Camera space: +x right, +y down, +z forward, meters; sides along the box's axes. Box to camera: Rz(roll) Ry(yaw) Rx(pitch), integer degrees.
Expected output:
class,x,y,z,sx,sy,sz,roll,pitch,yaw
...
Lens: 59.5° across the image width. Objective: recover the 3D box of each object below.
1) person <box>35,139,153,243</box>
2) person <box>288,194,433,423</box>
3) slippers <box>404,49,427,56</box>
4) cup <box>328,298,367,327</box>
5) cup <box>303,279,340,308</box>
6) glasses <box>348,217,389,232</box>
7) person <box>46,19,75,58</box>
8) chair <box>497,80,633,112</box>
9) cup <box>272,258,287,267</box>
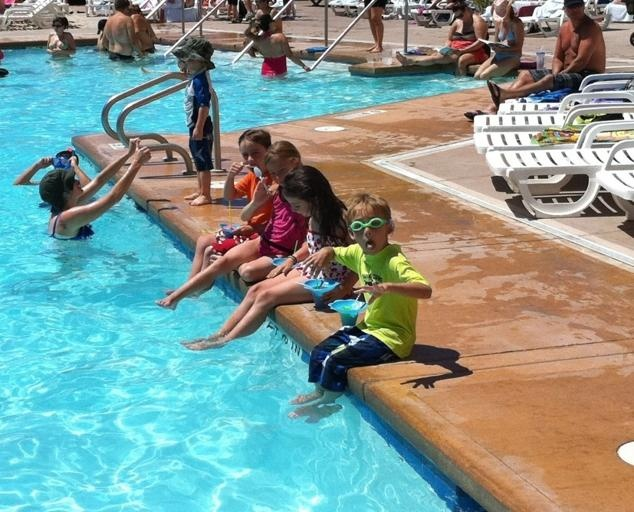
class,x,y,z,sx,sy,sz,roll,pitch,yaw
person,-2.300,-0.650,5.735,1.050,1.064,0.670,-9,26,-19
person,0.239,0.296,3.147,0.747,1.301,0.581,2,26,6
slippers,2.753,-5.689,15.564,0.632,0.120,0.396,-1,10,3
cup,0.186,0.324,3.199,0.249,0.101,0.194,-2,9,-5
cup,0.034,0.243,3.610,0.259,0.110,0.204,3,13,9
glasses,0.270,-0.164,2.960,0.203,0.091,0.066,2,24,7
person,-8.811,-7.452,18.874,0.841,1.311,0.965,-11,26,-20
chair,3.850,-2.557,8.907,1.803,0.501,0.970,-3,25,9
cup,-0.279,0.050,4.026,0.099,0.027,0.061,0,22,-3
